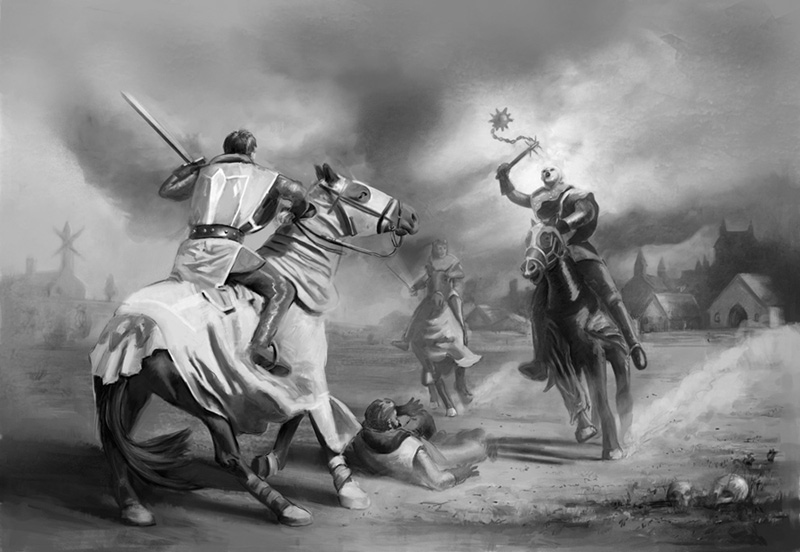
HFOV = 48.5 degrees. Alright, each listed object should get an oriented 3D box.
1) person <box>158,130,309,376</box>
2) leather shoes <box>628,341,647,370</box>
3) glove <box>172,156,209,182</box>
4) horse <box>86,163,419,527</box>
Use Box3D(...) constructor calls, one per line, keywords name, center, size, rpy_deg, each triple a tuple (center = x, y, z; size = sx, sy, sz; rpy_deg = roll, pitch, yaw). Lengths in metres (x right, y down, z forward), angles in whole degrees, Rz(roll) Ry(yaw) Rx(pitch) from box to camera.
Box3D(name="person", center=(-1.379, -0.136, 7.444), size=(1.202, 1.804, 0.326), rpy_deg=(-1, -11, -14))
Box3D(name="leather shoes", center=(2.361, 0.799, 8.815), size=(0.193, 0.259, 0.103), rpy_deg=(-30, 11, -33))
Box3D(name="glove", center=(-1.781, -0.894, 7.538), size=(0.238, 0.074, 0.180), rpy_deg=(-28, 21, 8))
Box3D(name="horse", center=(-1.241, 0.533, 7.882), size=(3.134, 2.901, 1.109), rpy_deg=(-4, -1, -31))
